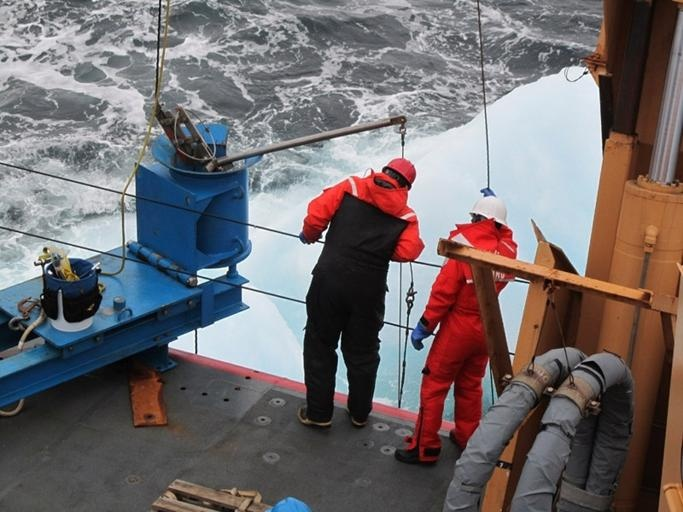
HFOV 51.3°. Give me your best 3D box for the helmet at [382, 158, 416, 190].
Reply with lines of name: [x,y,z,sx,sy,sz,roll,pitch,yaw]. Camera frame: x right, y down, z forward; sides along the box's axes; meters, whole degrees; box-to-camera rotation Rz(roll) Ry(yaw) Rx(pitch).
helmet: [0.520,-0.694,5.960,0.217,0.142,0.276,45,3,40]

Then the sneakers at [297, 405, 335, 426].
sneakers: [-0.234,1.462,6.431,0.270,0.125,0.142,27,34,30]

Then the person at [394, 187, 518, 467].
person: [0.938,0.651,5.829,0.696,2.249,1.004,23,32,30]

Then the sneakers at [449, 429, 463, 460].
sneakers: [0.970,1.651,6.245,0.076,0.097,0.225,-15,43,-14]

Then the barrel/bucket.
barrel/bucket: [-2.347,0.346,6.208,0.495,0.482,0.438,1,26,-35]
